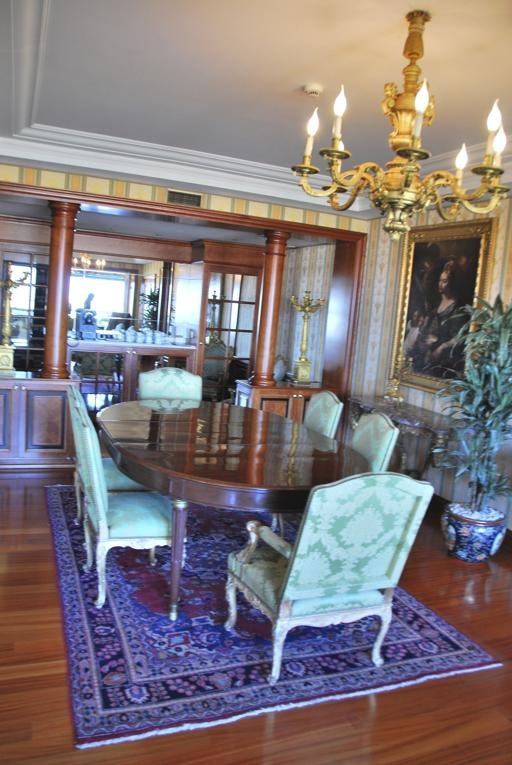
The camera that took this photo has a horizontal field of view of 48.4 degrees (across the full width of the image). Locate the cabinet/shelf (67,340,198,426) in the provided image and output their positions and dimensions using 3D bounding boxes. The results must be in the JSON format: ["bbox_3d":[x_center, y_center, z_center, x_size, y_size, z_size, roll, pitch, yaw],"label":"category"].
[{"bbox_3d":[-1.552,-0.102,6.917,1.504,0.806,0.455,2,20,-18],"label":"cabinet/shelf"}]

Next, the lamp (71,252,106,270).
[{"bbox_3d":[-2.038,-1.474,6.969,0.396,0.203,0.064,4,6,-28],"label":"lamp"}]

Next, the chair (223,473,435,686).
[{"bbox_3d":[0.244,0.677,2.207,0.576,0.802,0.643,2,7,-36],"label":"chair"}]

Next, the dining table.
[{"bbox_3d":[-0.084,0.367,2.703,0.850,0.611,1.907,1,9,-15],"label":"dining table"}]

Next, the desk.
[{"bbox_3d":[1.160,0.401,4.669,0.324,0.422,0.919,-24,32,-39],"label":"desk"}]
